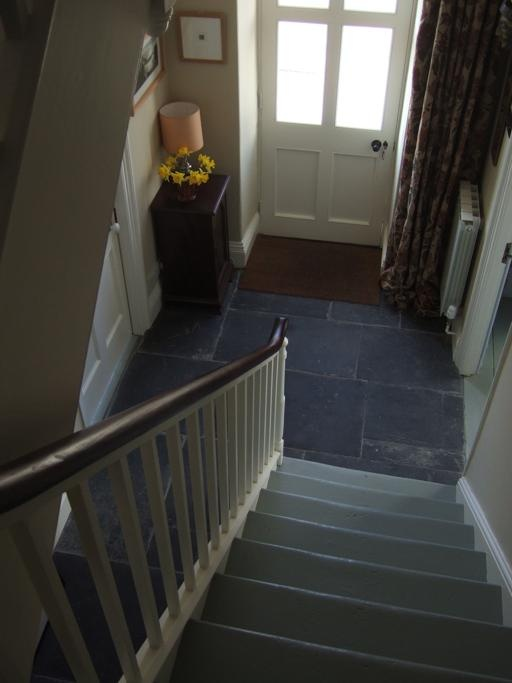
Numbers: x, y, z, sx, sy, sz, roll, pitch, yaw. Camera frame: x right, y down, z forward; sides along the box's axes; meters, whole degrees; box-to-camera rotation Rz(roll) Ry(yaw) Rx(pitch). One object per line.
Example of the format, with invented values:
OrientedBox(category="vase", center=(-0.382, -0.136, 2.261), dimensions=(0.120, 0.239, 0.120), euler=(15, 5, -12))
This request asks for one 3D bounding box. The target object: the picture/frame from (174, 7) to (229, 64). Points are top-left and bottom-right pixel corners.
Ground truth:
OrientedBox(category="picture/frame", center=(-0.436, -2.433, 3.936), dimensions=(0.389, 0.346, 0.162), euler=(2, 22, -4))

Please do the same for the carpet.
OrientedBox(category="carpet", center=(0.549, -0.688, 5.005), dimensions=(1.417, 0.085, 1.451), euler=(5, 34, 5))

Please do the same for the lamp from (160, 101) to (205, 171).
OrientedBox(category="lamp", center=(-0.645, -1.697, 4.025), dimensions=(0.354, 0.436, 0.473), euler=(10, 27, 14))

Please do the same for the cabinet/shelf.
OrientedBox(category="cabinet/shelf", center=(-0.569, -0.872, 4.394), dimensions=(0.599, 1.087, 0.723), euler=(5, 24, 6))
